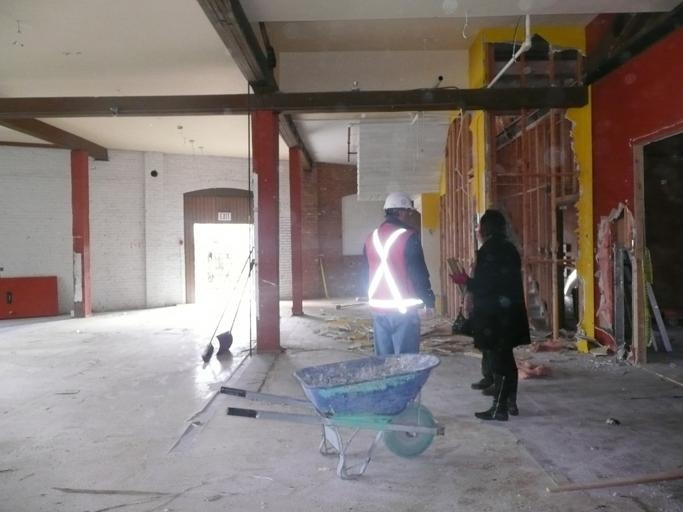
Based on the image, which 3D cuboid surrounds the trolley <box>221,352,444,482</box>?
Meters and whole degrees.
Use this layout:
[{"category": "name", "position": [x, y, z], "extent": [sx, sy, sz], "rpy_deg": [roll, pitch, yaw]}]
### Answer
[{"category": "trolley", "position": [-0.001, 1.693, 5.750], "extent": [2.159, 1.125, 0.962], "rpy_deg": [-2, 0, -11]}]

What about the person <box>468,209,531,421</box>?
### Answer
[{"category": "person", "position": [1.831, 0.686, 6.558], "extent": [0.704, 2.403, 0.654], "rpy_deg": [5, 13, 31]}]

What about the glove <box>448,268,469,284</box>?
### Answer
[{"category": "glove", "position": [1.399, 0.278, 6.687], "extent": [0.222, 0.174, 0.321], "rpy_deg": [-1, 11, -2]}]

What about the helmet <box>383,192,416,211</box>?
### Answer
[{"category": "helmet", "position": [0.659, -0.622, 6.358], "extent": [0.262, 0.154, 0.208], "rpy_deg": [-4, 6, -27]}]

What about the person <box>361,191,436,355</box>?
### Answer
[{"category": "person", "position": [0.628, 0.220, 6.239], "extent": [0.745, 1.824, 0.665], "rpy_deg": [-1, 11, 1]}]
